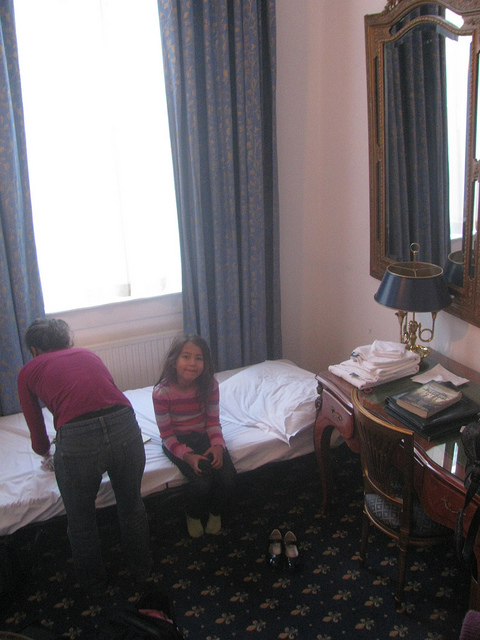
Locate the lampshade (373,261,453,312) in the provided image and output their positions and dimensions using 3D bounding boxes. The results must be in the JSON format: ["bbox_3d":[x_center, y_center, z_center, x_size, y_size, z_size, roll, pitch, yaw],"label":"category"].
[{"bbox_3d":[0.771,-0.142,2.046,0.306,0.185,0.351,0,16,10],"label":"lampshade"}]

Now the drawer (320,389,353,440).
[{"bbox_3d":[0.417,0.394,1.945,0.136,0.105,0.144,1,25,-33],"label":"drawer"}]

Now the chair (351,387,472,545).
[{"bbox_3d":[0.589,0.479,1.558,0.290,0.516,0.300,-21,37,-20],"label":"chair"}]

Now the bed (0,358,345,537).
[{"bbox_3d":[-0.331,0.576,2.199,1.328,0.387,0.854,-13,40,-19],"label":"bed"}]

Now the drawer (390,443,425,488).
[{"bbox_3d":[0.541,0.458,1.504,0.053,0.138,0.180,-3,13,-7],"label":"drawer"}]

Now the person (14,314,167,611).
[{"bbox_3d":[-0.622,0.526,1.817,0.545,1.081,0.299,0,8,39],"label":"person"}]

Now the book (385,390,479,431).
[{"bbox_3d":[0.706,0.313,1.639,0.138,0.040,0.150,-13,23,-21],"label":"book"}]

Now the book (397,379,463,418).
[{"bbox_3d":[0.704,0.302,1.700,0.220,0.057,0.161,-16,19,-30],"label":"book"}]

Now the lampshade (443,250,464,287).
[{"bbox_3d":[0.922,-0.222,1.983,0.091,0.112,0.105,3,24,2],"label":"lampshade"}]
